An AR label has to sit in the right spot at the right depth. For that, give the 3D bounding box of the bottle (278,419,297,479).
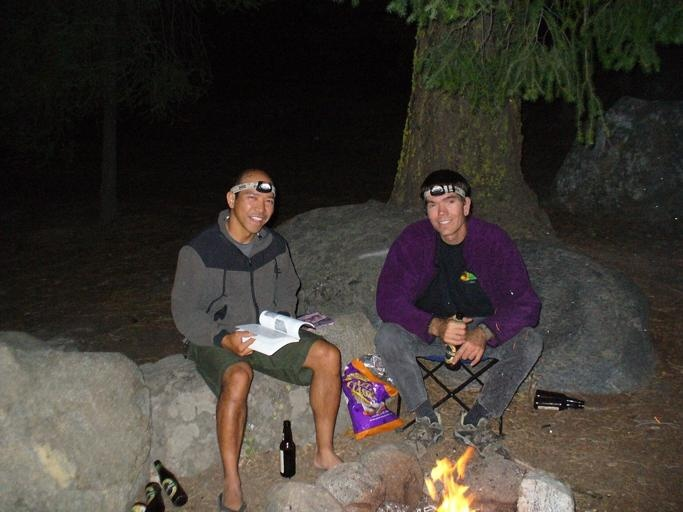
[{"bbox_3d":[-0.419,1.488,4.255,0.128,0.480,0.195,2,11,4],"label":"bottle"}]

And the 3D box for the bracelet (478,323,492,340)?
[{"bbox_3d":[1.177,0.629,4.514,0.076,0.121,0.112,-18,-4,-3],"label":"bracelet"}]

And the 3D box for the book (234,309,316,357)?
[{"bbox_3d":[-0.548,0.593,4.215,0.365,0.121,0.406,17,29,33],"label":"book"}]

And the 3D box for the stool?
[{"bbox_3d":[0.960,1.176,4.922,0.679,0.615,0.736,-3,6,13],"label":"stool"}]

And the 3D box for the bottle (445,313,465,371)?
[{"bbox_3d":[0.931,0.725,4.534,0.124,0.538,0.212,4,11,11],"label":"bottle"}]

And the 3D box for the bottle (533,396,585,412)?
[{"bbox_3d":[1.941,1.330,4.899,0.309,0.103,0.186,0,14,6],"label":"bottle"}]

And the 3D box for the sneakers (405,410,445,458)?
[{"bbox_3d":[0.711,1.429,4.486,0.212,0.185,0.398,20,61,48],"label":"sneakers"}]
